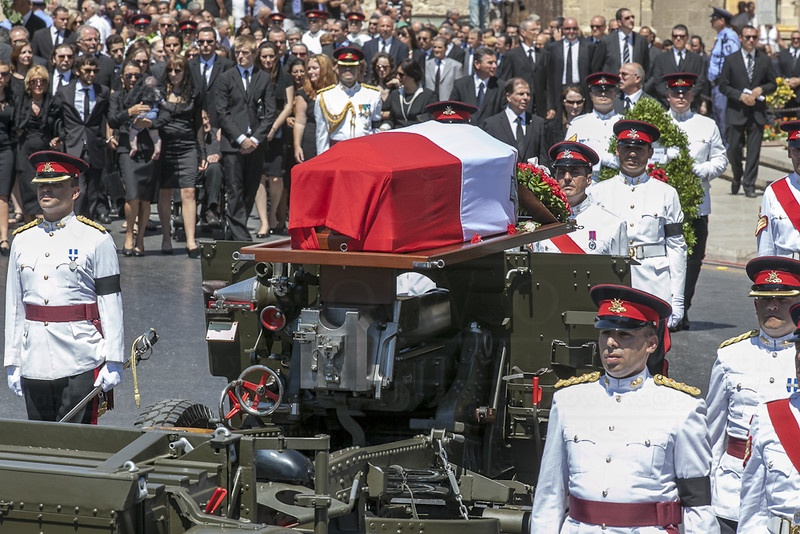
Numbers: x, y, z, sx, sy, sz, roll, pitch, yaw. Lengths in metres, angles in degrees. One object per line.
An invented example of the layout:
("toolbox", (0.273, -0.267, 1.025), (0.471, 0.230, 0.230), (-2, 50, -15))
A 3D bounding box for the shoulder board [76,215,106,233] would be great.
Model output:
("shoulder board", (-3.192, -0.432, 23.408), (0.267, 0.062, 0.178), (26, 3, -32))

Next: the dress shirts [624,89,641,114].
("dress shirts", (3.055, -2.203, 29.506), (0.325, 0.360, 0.421), (-1, 2, 1))

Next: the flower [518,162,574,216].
("flower", (1.540, -0.791, 23.985), (0.695, 0.618, 0.283), (-2, 5, -38))

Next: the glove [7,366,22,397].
("glove", (-4.015, 1.228, 23.650), (0.229, 0.270, 0.297), (-2, 7, -10))

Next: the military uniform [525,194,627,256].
("military uniform", (1.981, -0.668, 25.145), (1.231, 0.990, 0.586), (1, -5, 10))

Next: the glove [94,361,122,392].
("glove", (-3.017, 1.181, 23.356), (0.285, 0.342, 0.152), (0, 4, -12))

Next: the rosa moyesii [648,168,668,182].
("rosa moyesii", (3.048, -1.091, 26.529), (0.217, 0.118, 0.209), (6, -6, -2))

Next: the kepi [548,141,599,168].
("kepi", (1.931, -1.262, 25.116), (0.553, 0.294, 0.373), (2, 4, 13))

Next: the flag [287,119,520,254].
("flag", (0.159, -0.843, 22.919), (1.217, 0.837, 2.081), (9, 16, 35))

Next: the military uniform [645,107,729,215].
("military uniform", (3.867, -1.397, 28.602), (1.096, 1.343, 0.487), (0, -10, -4))

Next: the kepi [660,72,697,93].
("kepi", (3.569, -2.380, 28.634), (0.384, 0.239, 0.550), (1, 4, 4))

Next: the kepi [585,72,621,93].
("kepi", (2.618, -2.383, 28.753), (0.372, 0.248, 0.469), (1, 4, 2))

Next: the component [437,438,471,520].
("component", (0.591, 2.201, 22.704), (0.395, 0.795, 0.215), (4, 5, 38))

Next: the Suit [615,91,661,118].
("Suit", (3.048, -2.104, 28.935), (0.732, 0.268, 0.402), (0, -4, 28))

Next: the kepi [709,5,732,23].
("kepi", (5.732, -4.609, 40.247), (0.353, 0.168, 0.409), (0, 9, -32))
